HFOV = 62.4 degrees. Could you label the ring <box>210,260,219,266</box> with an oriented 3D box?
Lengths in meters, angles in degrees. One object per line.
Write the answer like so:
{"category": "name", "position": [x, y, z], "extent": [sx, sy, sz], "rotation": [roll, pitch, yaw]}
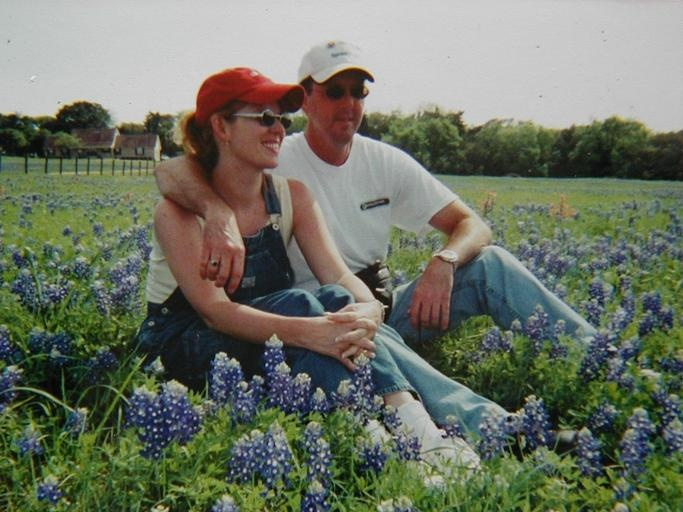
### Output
{"category": "ring", "position": [-0.703, 0.033, 3.147], "extent": [0.043, 0.032, 0.018], "rotation": [-1, 9, -30]}
